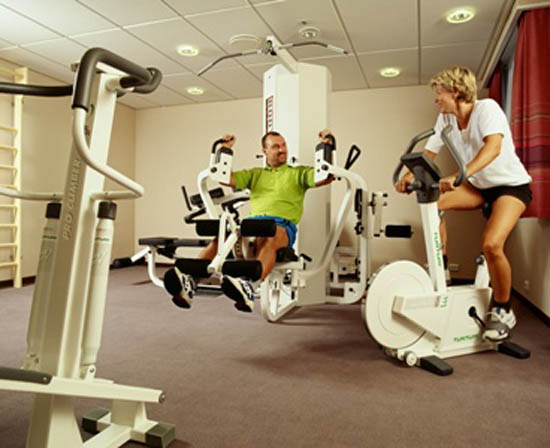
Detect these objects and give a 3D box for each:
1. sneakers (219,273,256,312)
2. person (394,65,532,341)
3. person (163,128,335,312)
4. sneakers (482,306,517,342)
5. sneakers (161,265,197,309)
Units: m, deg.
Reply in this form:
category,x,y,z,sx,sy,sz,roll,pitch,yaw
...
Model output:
category,x,y,z,sx,sy,sz,roll,pitch,yaw
sneakers,-0.187,0.365,2.225,0.098,0.142,0.290,-4,-43,29
person,1.170,-0.106,2.473,0.572,1.610,0.603,2,3,32
person,-0.138,-0.121,2.684,0.844,1.082,1.412,5,9,18
sneakers,1.351,0.587,2.521,0.159,0.171,0.350,-18,-5,44
sneakers,-0.460,0.298,2.096,0.104,0.222,0.073,-38,-16,-2
